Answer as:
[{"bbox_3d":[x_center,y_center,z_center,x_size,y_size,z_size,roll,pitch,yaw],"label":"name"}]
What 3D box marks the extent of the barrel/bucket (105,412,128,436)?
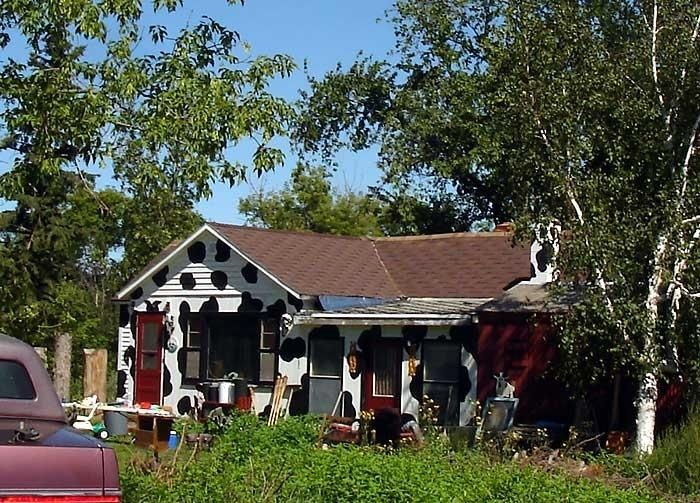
[{"bbox_3d":[-5.872,4.215,24.519,0.568,0.702,0.588,-2,-4,0],"label":"barrel/bucket"}]
